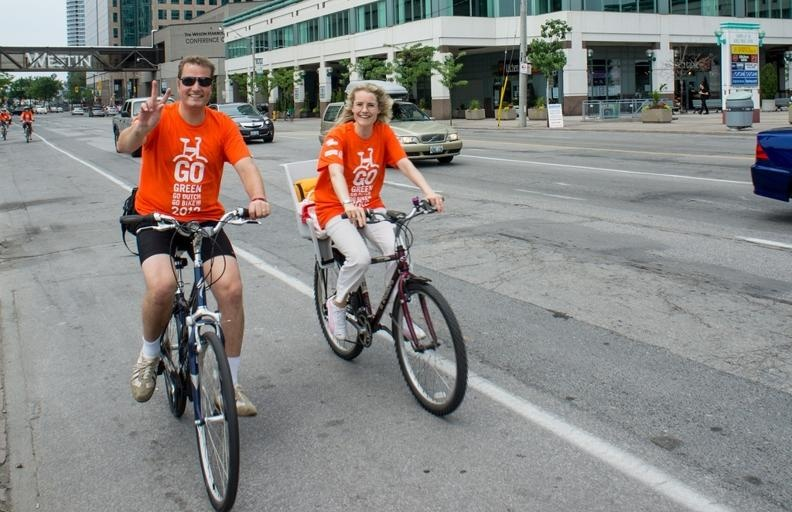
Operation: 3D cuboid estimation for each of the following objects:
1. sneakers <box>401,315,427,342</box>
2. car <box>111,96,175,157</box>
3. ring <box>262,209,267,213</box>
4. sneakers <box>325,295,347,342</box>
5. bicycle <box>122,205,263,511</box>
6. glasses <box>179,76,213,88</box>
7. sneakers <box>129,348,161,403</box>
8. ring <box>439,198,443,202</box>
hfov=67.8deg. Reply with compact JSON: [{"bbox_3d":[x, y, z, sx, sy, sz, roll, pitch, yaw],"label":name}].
[{"bbox_3d":[0.145,0.594,4.670,0.054,0.143,0.296,-9,17,-31],"label":"sneakers"},{"bbox_3d":[-12.276,-6.376,28.690,2.423,2.162,4.488,-4,10,-38],"label":"car"},{"bbox_3d":[-0.903,-0.314,4.069,0.027,0.030,0.007,0,-8,-24],"label":"ring"},{"bbox_3d":[-0.552,0.582,5.399,0.151,0.457,0.190,-19,6,-34],"label":"sneakers"},{"bbox_3d":[-1.345,0.642,4.193,0.909,1.290,1.983,-2,9,-26],"label":"bicycle"},{"bbox_3d":[-1.425,-1.236,4.189,0.227,0.078,0.085,-8,16,-20],"label":"glasses"},{"bbox_3d":[-1.913,0.921,4.449,0.150,0.499,0.179,-1,-29,-19],"label":"sneakers"},{"bbox_3d":[0.369,-0.453,4.793,0.017,0.023,0.035,-8,10,-30],"label":"ring"}]
